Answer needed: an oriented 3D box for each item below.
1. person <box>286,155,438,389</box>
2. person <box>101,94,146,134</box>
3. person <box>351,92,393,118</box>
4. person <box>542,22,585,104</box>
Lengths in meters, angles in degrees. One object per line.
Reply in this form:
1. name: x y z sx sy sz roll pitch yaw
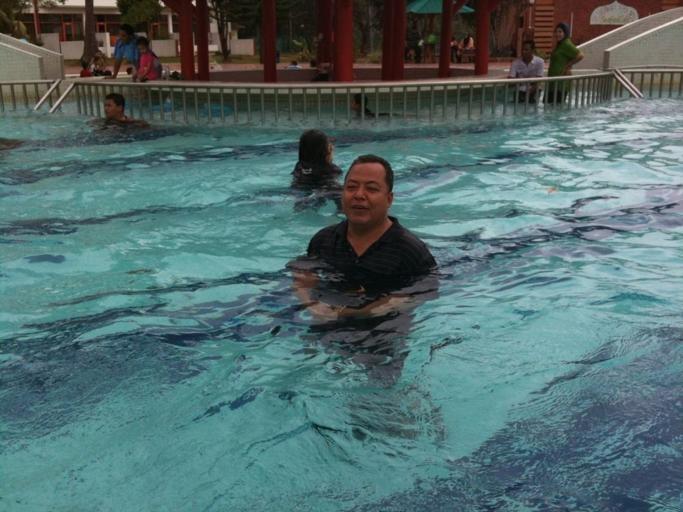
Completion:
1. person: 0.060 -0.025 3.492 1.072 1.216 1.054 0 14 8
2. person: -4.217 -2.776 10.550 0.734 0.754 0.978 -11 15 -33
3. person: 0.592 -3.187 11.657 0.680 0.591 1.343 -3 11 -6
4. person: 5.120 -4.425 12.601 0.702 1.869 1.136 2 15 18
